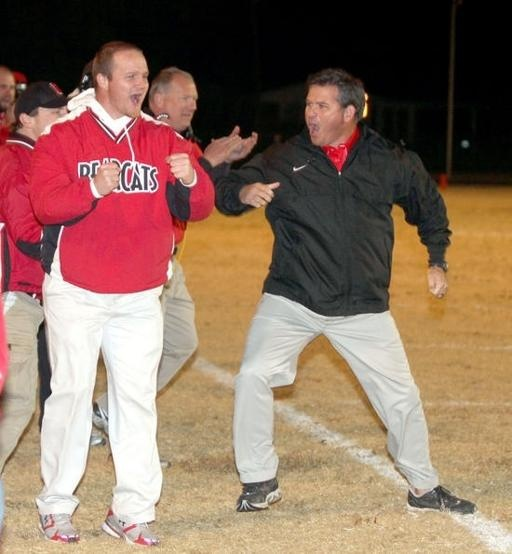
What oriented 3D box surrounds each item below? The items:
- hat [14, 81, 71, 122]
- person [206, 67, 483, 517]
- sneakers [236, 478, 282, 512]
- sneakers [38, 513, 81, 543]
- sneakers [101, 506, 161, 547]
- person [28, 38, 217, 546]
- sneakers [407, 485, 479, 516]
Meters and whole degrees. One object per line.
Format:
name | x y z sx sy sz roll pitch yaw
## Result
hat | -1.098 -0.918 3.824 0.241 0.141 0.175 -18 17 8
person | 0.394 0.044 3.744 1.237 2.188 0.683 1 10 0
sneakers | 0.020 1.073 3.698 0.127 0.146 0.306 -6 -2 33
sneakers | -0.883 1.117 3.319 0.198 0.092 0.091 19 6 37
sneakers | -0.561 1.133 3.302 0.288 0.134 0.110 22 -3 17
person | -0.606 0.095 3.208 0.756 2.193 0.461 -3 11 -18
sneakers | 0.925 1.110 3.697 0.350 0.151 0.127 2 -6 3
